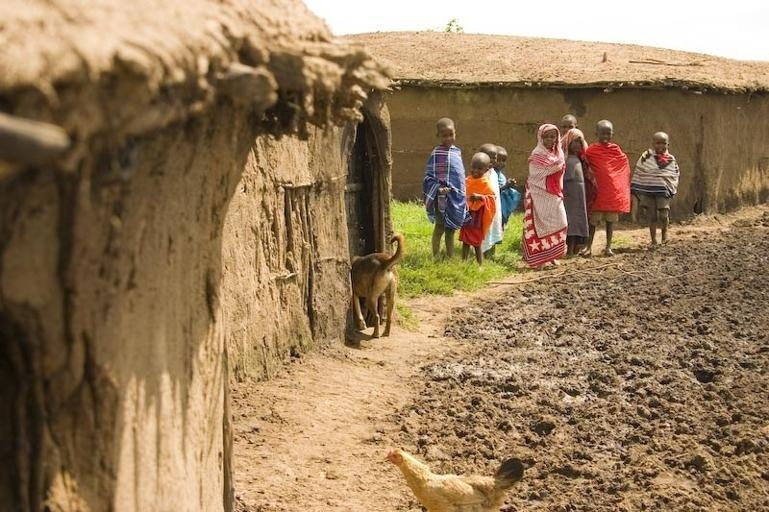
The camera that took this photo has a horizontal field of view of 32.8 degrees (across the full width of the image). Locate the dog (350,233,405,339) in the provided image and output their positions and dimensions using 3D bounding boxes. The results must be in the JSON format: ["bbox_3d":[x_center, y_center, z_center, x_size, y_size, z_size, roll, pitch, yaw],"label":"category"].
[{"bbox_3d":[-0.087,0.301,13.834,0.538,1.087,0.938,0,1,-1],"label":"dog"}]
